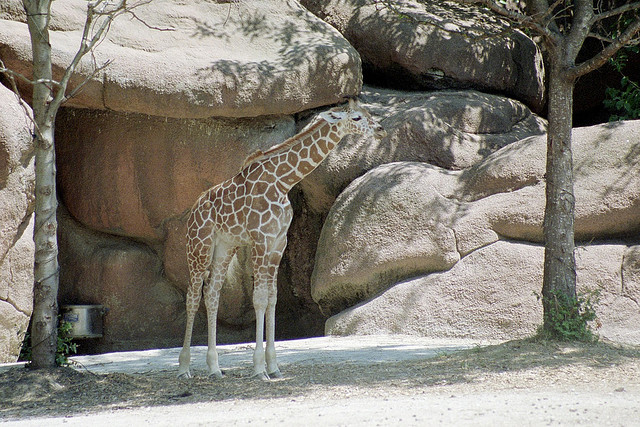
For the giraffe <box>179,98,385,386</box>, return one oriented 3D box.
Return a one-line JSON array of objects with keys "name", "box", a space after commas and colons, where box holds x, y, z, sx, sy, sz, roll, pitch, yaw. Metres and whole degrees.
[{"name": "giraffe", "box": [-0.827, 0.478, 23.710, 3.406, 4.320, 1.139, -3, -2, 25]}]
